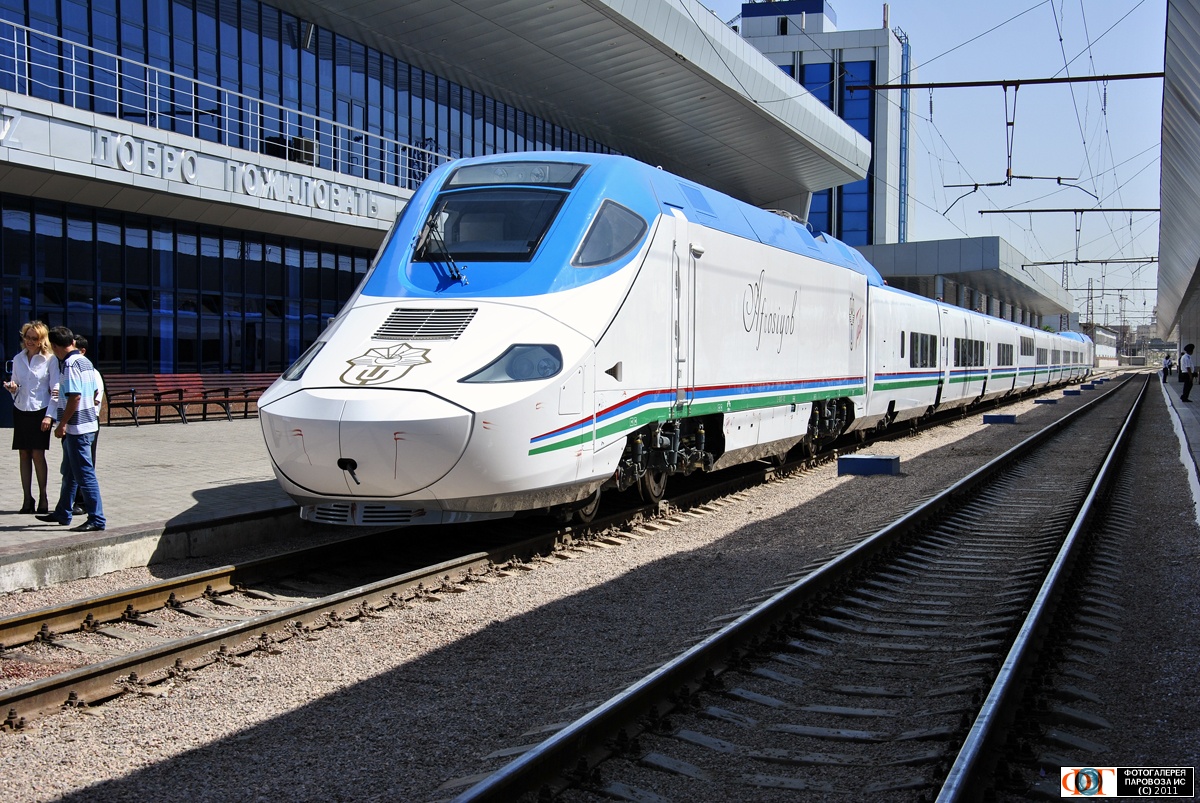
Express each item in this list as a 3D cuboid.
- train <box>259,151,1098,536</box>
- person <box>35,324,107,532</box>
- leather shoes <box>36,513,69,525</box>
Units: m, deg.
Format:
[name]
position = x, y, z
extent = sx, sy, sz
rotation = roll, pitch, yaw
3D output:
[train]
position = 4.691, -0.918, 19.672
extent = 3.285, 4.484, 27.897
rotation = 1, 2, 28
[person]
position = -5.204, 0.243, 8.811
extent = 0.556, 1.982, 1.267
rotation = 0, 2, -31
[leather shoes]
position = -5.446, 1.174, 8.885
extent = 0.334, 0.128, 0.097
rotation = 6, -2, 16
